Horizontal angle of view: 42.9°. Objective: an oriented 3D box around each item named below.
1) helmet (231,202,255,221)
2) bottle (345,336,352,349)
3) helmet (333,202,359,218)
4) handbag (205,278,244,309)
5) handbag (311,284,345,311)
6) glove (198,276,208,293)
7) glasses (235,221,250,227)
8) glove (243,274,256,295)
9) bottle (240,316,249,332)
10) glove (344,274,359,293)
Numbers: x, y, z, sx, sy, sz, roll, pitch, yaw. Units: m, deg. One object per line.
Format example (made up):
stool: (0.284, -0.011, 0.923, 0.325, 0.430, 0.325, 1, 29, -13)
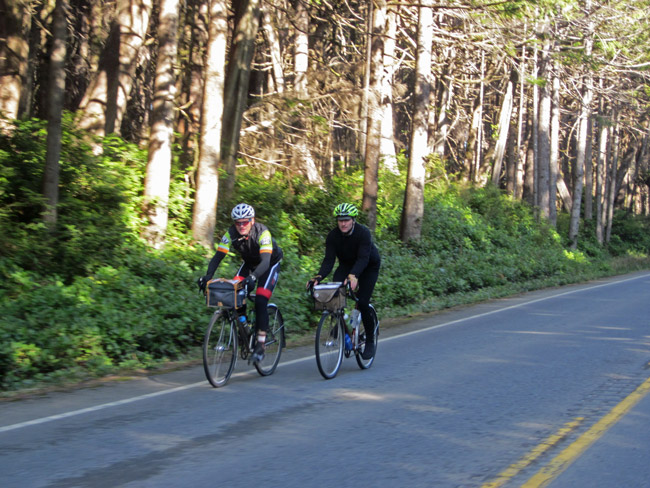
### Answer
helmet: (-1.294, -0.499, 12.938, 0.310, 0.268, 0.439, 0, -1, -1)
bottle: (0.389, 1.621, 13.628, 0.049, 0.192, 0.139, 2, 4, 11)
helmet: (0.391, -0.542, 13.391, 0.302, 0.155, 0.403, 3, 6, 19)
handbag: (-1.577, 0.753, 12.660, 0.491, 0.393, 0.444, 0, -4, 10)
handbag: (0.104, 0.842, 13.393, 0.401, 0.310, 0.441, 1, 4, 16)
glove: (-1.859, 0.612, 12.795, 0.198, 0.270, 0.111, 14, 4, 36)
glasses: (-1.309, -0.315, 12.890, 0.251, 0.107, 0.194, -1, -1, 13)
glove: (-1.198, 0.620, 12.833, 0.117, 0.295, 0.186, 4, -10, 24)
bottle: (-1.277, 1.246, 13.073, 0.145, 0.191, 0.204, -21, -7, 2)
glove: (0.466, 0.637, 13.305, 0.094, 0.260, 0.187, -18, 40, -40)
